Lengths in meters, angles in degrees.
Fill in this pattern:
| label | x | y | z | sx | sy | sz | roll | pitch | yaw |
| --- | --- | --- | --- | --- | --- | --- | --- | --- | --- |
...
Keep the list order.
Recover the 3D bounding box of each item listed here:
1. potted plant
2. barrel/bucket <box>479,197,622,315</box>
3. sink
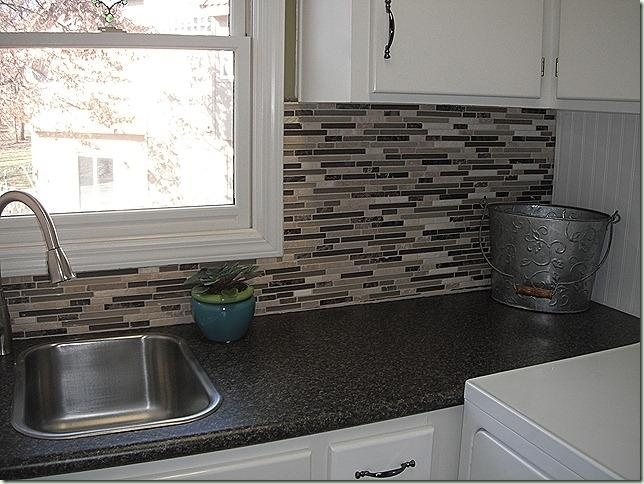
| label | x | y | z | sx | sy | sz | roll | pitch | yaw |
| --- | --- | --- | --- | --- | --- | --- | --- | --- | --- |
| potted plant | -0.314 | 0.188 | 1.477 | 0.198 | 0.214 | 0.202 | 1 | 12 | -2 |
| barrel/bucket | 0.832 | 0.014 | 1.722 | 0.468 | 0.327 | 0.432 | 2 | 8 | 0 |
| sink | -0.617 | 0.370 | 1.317 | 0.435 | 0.463 | 0.167 | 11 | 15 | -27 |
